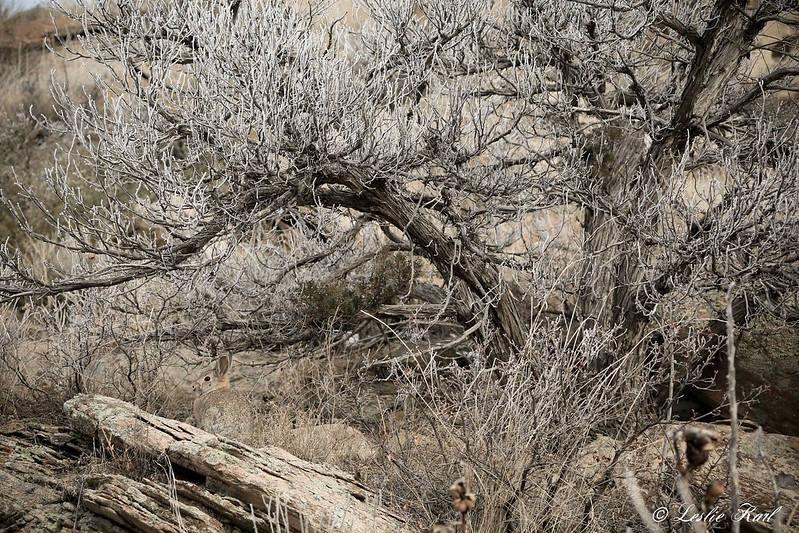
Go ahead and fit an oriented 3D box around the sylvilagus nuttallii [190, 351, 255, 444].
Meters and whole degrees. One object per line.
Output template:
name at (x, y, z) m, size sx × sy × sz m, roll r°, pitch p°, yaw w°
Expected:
sylvilagus nuttallii at (-2.192, 1.481, 9.864) m, size 0.769 × 1.239 × 0.424 m, roll 21°, pitch 29°, yaw -21°
